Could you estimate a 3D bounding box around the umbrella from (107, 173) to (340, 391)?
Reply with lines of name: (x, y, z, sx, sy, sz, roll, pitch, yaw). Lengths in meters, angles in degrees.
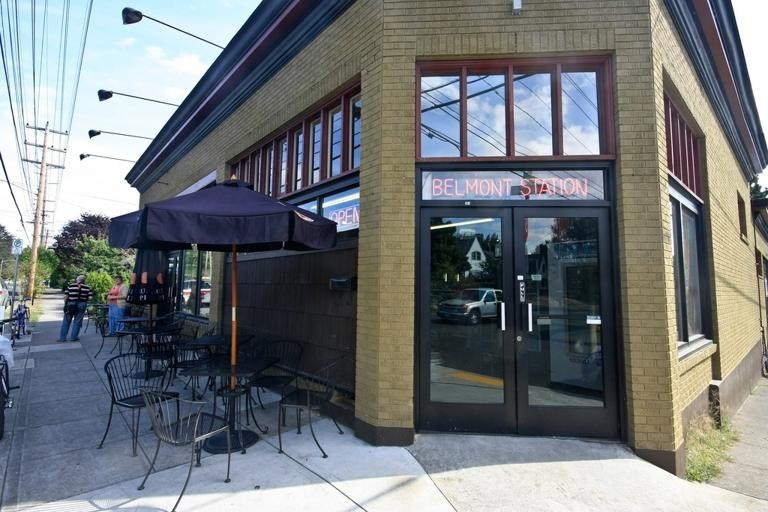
umbrella: (-2.638, 0.398, 9.559, 2.855, 2.661, 2.806, 2, -10, -27)
